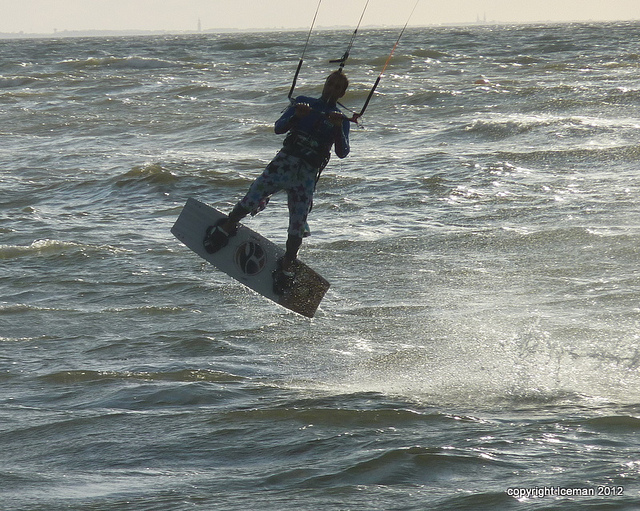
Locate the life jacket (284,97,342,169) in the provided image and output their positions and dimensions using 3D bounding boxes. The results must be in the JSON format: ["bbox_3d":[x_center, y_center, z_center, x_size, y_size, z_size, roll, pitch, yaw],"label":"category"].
[{"bbox_3d":[-0.080,-1.826,20.586,1.038,1.033,0.439,24,10,-3],"label":"life jacket"}]
